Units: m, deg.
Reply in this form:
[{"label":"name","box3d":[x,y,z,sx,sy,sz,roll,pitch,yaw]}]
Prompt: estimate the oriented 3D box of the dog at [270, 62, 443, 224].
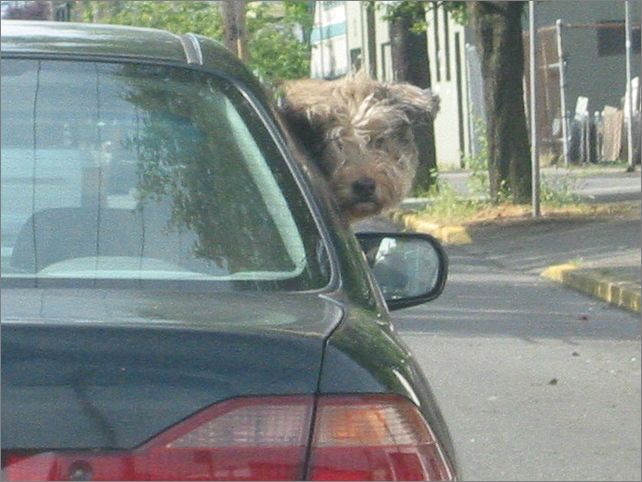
[{"label":"dog","box3d":[0.130,-0.475,5.204,0.768,0.713,0.387,3,-21,-20]}]
